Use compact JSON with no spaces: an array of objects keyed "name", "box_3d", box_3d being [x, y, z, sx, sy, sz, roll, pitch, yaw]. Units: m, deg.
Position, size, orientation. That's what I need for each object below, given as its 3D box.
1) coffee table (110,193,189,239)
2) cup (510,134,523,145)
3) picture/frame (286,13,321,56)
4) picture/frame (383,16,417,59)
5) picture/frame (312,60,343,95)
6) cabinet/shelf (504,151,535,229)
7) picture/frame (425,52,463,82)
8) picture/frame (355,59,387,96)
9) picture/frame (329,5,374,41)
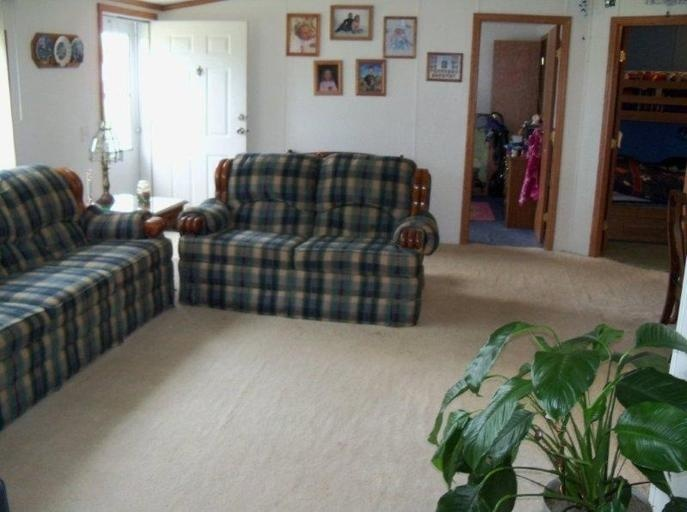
[{"name":"coffee table","box_3d":[-1.891,-0.448,5.178,0.536,0.255,0.455,7,17,16]},{"name":"cup","box_3d":[2.615,-1.760,8.124,0.148,0.111,0.197,6,19,20]},{"name":"picture/frame","box_3d":[-0.457,-2.621,6.297,0.469,0.543,0.038,0,6,4]},{"name":"picture/frame","box_3d":[0.657,-2.546,6.193,0.446,0.539,0.037,1,13,1]},{"name":"picture/frame","box_3d":[-0.179,-2.126,6.343,0.380,0.453,0.046,1,6,1]},{"name":"cabinet/shelf","box_3d":[2.464,-0.881,7.490,0.399,0.933,0.476,4,18,15]},{"name":"picture/frame","box_3d":[1.162,-2.197,6.193,0.312,0.262,0.026,0,4,-1]},{"name":"picture/frame","box_3d":[0.323,-2.111,6.294,0.392,0.470,0.035,1,10,2]},{"name":"picture/frame","box_3d":[0.103,-2.723,6.227,0.382,0.302,0.016,0,5,1]}]
